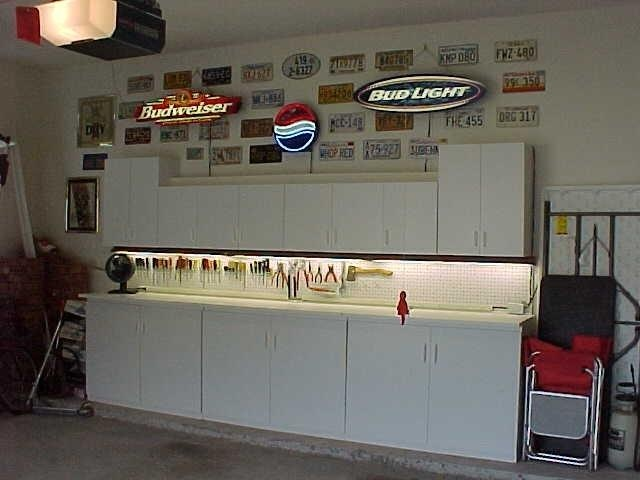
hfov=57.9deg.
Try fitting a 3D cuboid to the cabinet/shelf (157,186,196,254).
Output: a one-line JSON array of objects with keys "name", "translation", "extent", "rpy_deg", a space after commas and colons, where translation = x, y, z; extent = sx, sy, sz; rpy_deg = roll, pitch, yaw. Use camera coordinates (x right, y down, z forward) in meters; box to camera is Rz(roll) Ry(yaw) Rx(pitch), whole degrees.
[{"name": "cabinet/shelf", "translation": [-2.057, -0.336, 7.771], "extent": [0.541, 1.065, 0.751], "rpy_deg": [6, 8, 2]}]

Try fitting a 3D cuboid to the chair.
[{"name": "chair", "translation": [2.493, 1.593, 5.928], "extent": [0.617, 1.259, 0.692], "rpy_deg": [0, -1, 25]}]
